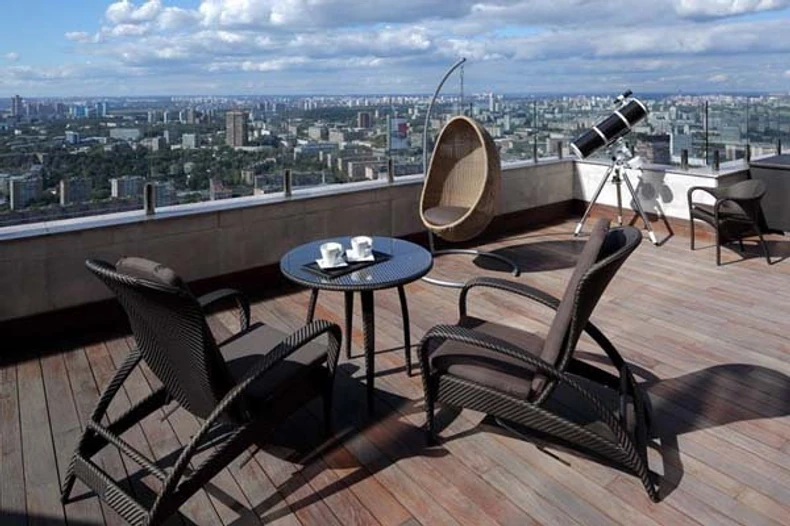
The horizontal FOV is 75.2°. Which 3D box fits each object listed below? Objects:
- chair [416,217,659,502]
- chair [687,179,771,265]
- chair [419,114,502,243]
[{"bbox_3d":[0.838,0.430,2.969,1.269,1.359,0.886,1,17,17],"label":"chair"},{"bbox_3d":[3.769,-0.507,5.616,0.968,0.795,1.037,-1,17,9],"label":"chair"},{"bbox_3d":[0.666,-0.850,5.376,0.889,1.355,0.888,15,19,30],"label":"chair"}]
